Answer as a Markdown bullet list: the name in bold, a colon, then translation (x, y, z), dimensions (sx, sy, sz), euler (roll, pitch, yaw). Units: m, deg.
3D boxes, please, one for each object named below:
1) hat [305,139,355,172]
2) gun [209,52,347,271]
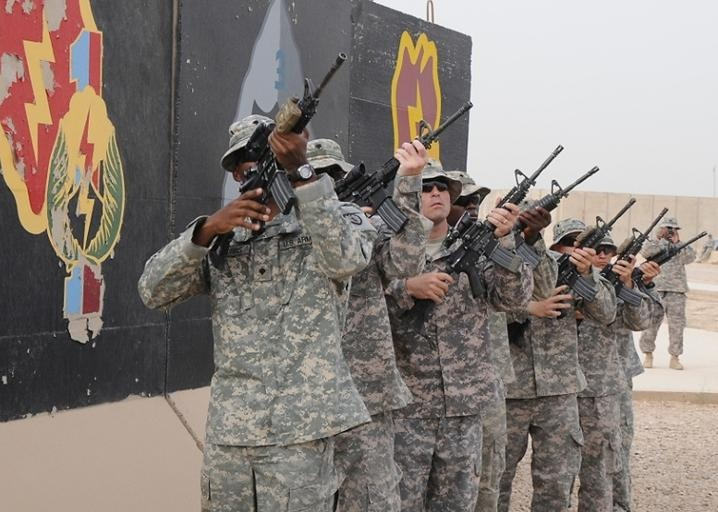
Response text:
- **hat**: translation (-0.230, -0.716, 7.361), dimensions (0.260, 0.152, 0.263), euler (-4, 4, 11)
- **gun**: translation (-0.529, -0.536, 6.316), dimensions (0.120, 1.484, 0.700), euler (21, 18, -48)
